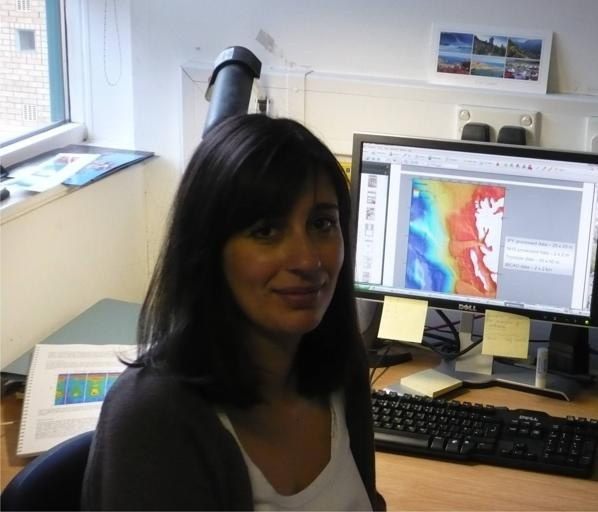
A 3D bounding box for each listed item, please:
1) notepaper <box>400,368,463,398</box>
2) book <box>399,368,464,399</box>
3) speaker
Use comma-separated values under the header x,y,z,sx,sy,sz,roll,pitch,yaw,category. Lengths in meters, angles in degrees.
x,y,z,sx,sy,sz,roll,pitch,yaw,category
0.258,0.238,1.055,0.103,0.032,0.082,-9,20,-27,notepaper
0.260,0.231,1.059,0.104,0.032,0.083,-9,20,-27,book
0.179,0.162,1.184,0.133,0.149,0.131,-1,2,6,speaker
